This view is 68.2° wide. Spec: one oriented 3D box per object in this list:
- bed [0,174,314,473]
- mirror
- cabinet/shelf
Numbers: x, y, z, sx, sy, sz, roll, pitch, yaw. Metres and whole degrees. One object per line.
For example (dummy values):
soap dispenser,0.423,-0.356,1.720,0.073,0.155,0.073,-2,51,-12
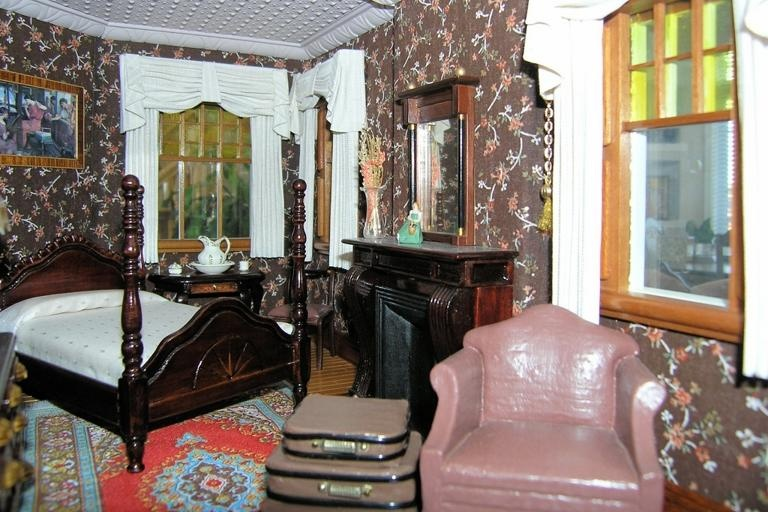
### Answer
bed,-2.333,0.296,5.363,1.818,2.048,2.805,-7,10,-45
mirror,0.520,-0.812,4.835,0.357,1.339,0.877,-6,12,-25
cabinet/shelf,0.370,0.552,4.147,0.432,1.373,1.453,2,2,-24
